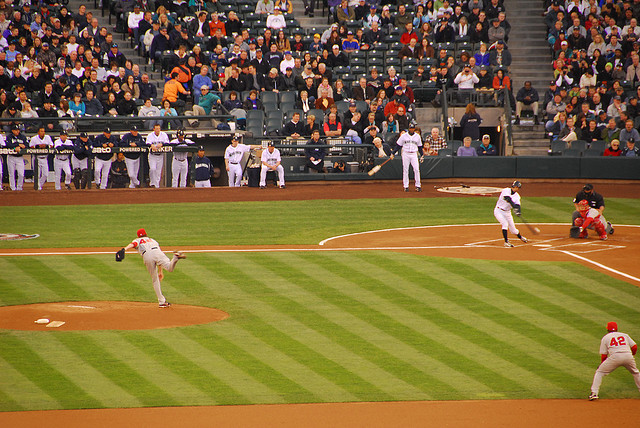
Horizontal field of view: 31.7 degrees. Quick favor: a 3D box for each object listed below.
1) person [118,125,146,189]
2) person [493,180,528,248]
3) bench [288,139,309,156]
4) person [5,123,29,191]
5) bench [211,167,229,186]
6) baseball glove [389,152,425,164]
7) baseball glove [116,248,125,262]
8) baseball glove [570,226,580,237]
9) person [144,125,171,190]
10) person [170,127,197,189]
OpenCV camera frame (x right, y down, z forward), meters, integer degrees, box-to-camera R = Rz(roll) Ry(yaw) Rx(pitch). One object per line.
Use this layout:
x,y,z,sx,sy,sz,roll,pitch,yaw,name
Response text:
-6.863,-1.988,40.612,0.940,2.233,1.083,-4,3,-20,person
5.492,-0.032,32.429,0.992,1.958,1.067,-1,-2,3,person
-0.810,-2.438,42.096,1.205,0.612,0.567,0,1,-17,bench
-10.831,-1.978,39.887,0.765,2.369,1.170,-4,3,-14,person
-3.868,-1.395,43.243,0.880,0.640,0.173,3,29,0,bench
3.236,-1.984,40.819,0.815,0.610,0.252,0,-2,3,baseball glove
-4.858,0.990,27.242,0.175,0.257,0.166,0,4,44,baseball glove
7.679,0.561,33.407,0.418,0.319,0.092,2,1,18,baseball glove
-5.964,-1.971,40.636,1.078,2.301,1.141,11,12,27,person
-5.108,-1.821,41.064,1.161,2.261,0.880,-1,9,-22,person
